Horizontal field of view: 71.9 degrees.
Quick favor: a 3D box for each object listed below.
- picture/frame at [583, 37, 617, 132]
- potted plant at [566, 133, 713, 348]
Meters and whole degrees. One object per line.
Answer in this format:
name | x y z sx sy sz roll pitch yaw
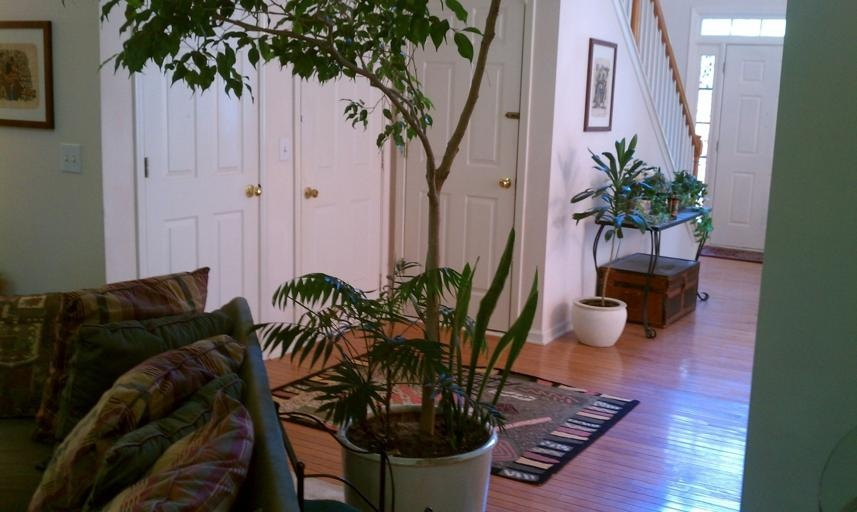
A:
picture/frame | 1.553 -1.592 5.400 0.065 0.929 0.800 7 14 32
potted plant | 2.007 -0.123 5.734 0.782 1.719 1.921 7 16 33
